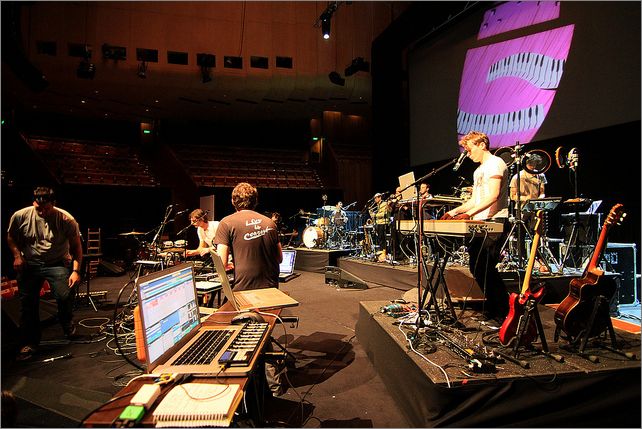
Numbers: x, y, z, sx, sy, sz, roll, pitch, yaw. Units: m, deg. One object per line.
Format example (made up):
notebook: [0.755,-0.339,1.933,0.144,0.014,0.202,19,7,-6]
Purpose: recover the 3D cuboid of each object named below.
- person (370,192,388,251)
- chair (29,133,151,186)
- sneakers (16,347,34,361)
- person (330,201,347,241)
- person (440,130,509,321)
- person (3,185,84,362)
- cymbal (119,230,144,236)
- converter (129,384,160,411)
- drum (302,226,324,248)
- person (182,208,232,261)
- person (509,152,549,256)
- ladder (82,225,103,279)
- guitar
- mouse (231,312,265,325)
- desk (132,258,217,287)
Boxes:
person: [1.339,0.194,10.866,0.392,1.384,1.416,-3,4,6]
chair: [-7.552,-1.773,15.625,3.644,1.691,3.037,-7,5,-41]
sneakers: [-4.445,2.062,7.122,0.243,0.184,0.122,-6,6,-34]
person: [0.450,0.195,12.909,0.466,1.052,0.400,-3,5,2]
person: [2.238,0.182,6.614,0.700,2.703,0.640,-1,6,21]
person: [-4.232,0.837,7.323,0.940,2.504,0.439,-7,6,-34]
cymbal: [-4.910,0.482,12.291,0.586,0.129,0.590,2,-6,-25]
converter: [-1.868,1.906,5.030,0.190,0.134,0.280,0,19,5]
drum: [-0.243,0.617,13.057,0.316,0.578,0.668,-7,6,-40]
person: [-2.214,0.356,8.860,0.698,0.851,0.656,-10,2,4]
person: [3.592,-0.245,8.186,0.587,1.700,1.346,-1,5,22]
ladder: [-6.252,0.783,12.758,0.573,1.476,0.573,4,-39,-23]
guitar: [3.489,0.737,6.133,0.942,1.689,0.320,-5,6,-20]
mouse: [-0.908,1.240,5.763,0.270,0.093,0.172,4,-9,1]
desk: [-2.394,1.097,7.917,1.347,0.310,0.908,0,-24,-17]
